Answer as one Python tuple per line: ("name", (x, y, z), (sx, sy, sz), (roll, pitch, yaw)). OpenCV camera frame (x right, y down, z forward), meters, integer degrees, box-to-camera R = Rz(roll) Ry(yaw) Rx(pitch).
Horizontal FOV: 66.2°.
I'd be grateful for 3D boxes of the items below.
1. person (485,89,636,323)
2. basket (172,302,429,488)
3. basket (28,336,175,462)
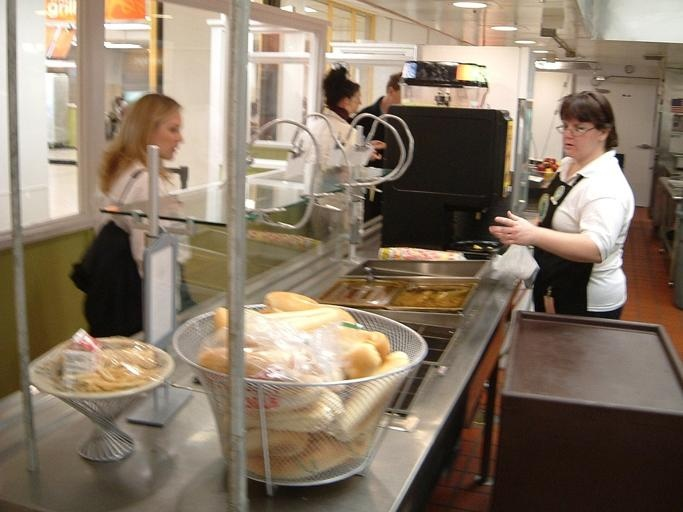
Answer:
("person", (1.034, -0.198, 2.339), (0.498, 1.069, 0.797), (9, 15, 29))
("basket", (-0.091, 0.307, 0.930), (0.388, 0.163, 0.365), (-11, -18, 17))
("basket", (-0.403, 0.209, 0.964), (0.262, 0.190, 0.244), (2, 16, -11))
